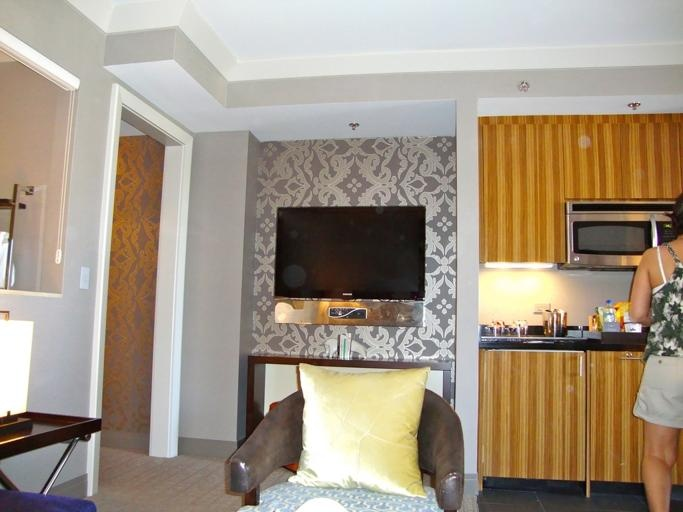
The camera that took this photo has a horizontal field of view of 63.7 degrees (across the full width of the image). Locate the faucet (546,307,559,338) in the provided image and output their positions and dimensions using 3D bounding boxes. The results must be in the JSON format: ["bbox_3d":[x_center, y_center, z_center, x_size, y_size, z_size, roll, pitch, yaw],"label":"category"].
[{"bbox_3d":[1.779,0.552,4.637,0.098,0.221,0.175,0,-5,2],"label":"faucet"}]

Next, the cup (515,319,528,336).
[{"bbox_3d":[1.540,0.610,4.702,0.108,0.130,0.110,0,0,0],"label":"cup"}]

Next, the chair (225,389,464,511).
[{"bbox_3d":[0.062,0.937,2.692,1.040,0.490,0.628,-1,-5,13],"label":"chair"}]

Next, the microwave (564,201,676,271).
[{"bbox_3d":[2.208,-0.203,4.413,0.793,0.578,0.522,0,-4,3],"label":"microwave"}]

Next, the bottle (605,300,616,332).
[{"bbox_3d":[2.175,0.466,4.408,0.068,0.222,0.490,-2,-5,26],"label":"bottle"}]
